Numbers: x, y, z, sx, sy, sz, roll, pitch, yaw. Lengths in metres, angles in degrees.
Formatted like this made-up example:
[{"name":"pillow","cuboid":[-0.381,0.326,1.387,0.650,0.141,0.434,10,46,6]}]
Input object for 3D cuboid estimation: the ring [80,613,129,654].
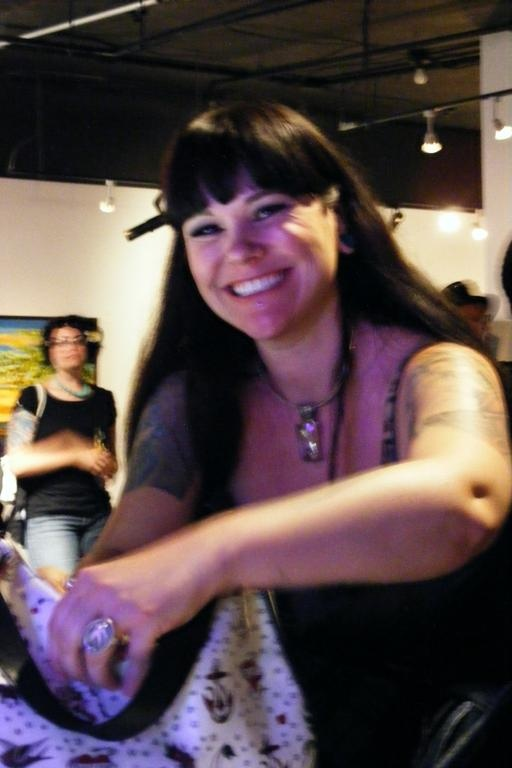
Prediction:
[{"name":"ring","cuboid":[-0.094,0.160,0.453,0.030,0.021,0.014,16,27,-14]}]
